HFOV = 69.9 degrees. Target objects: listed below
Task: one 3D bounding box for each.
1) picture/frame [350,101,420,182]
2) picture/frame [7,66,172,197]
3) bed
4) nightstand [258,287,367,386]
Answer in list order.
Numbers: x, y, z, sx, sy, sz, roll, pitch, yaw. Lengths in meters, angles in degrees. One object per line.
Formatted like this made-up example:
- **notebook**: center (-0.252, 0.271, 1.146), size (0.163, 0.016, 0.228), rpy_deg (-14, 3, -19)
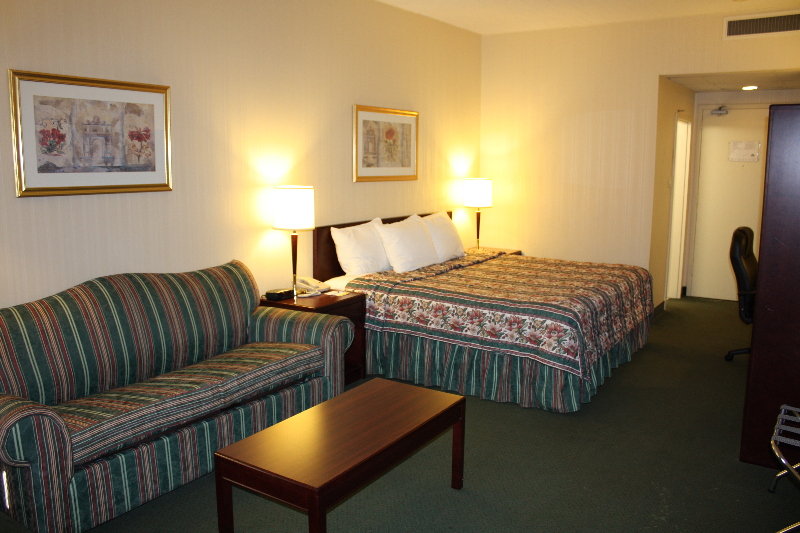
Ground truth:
- **picture/frame**: center (-0.139, -1.369, 6.419), size (0.998, 0.781, 0.043), rpy_deg (13, 15, 40)
- **picture/frame**: center (-2.283, -0.992, 4.146), size (0.038, 0.774, 1.042), rpy_deg (6, 8, 39)
- **bed**: center (0.759, 0.433, 5.359), size (2.096, 1.031, 2.237), rpy_deg (5, 13, 32)
- **nightstand**: center (-0.709, 0.608, 5.361), size (0.804, 1.198, 0.865), rpy_deg (4, 8, 32)
